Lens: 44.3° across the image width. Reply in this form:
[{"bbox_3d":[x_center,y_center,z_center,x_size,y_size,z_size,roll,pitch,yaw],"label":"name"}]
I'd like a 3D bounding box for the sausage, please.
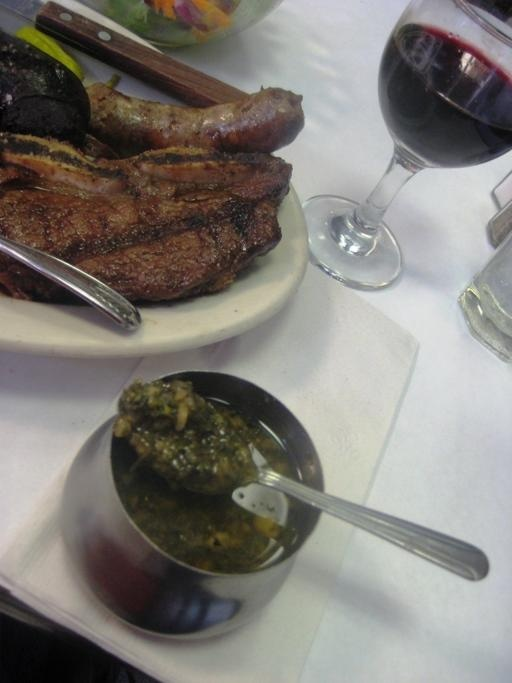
[{"bbox_3d":[-0.094,-0.307,0.882,0.323,0.094,0.085,5,16,10],"label":"sausage"}]
